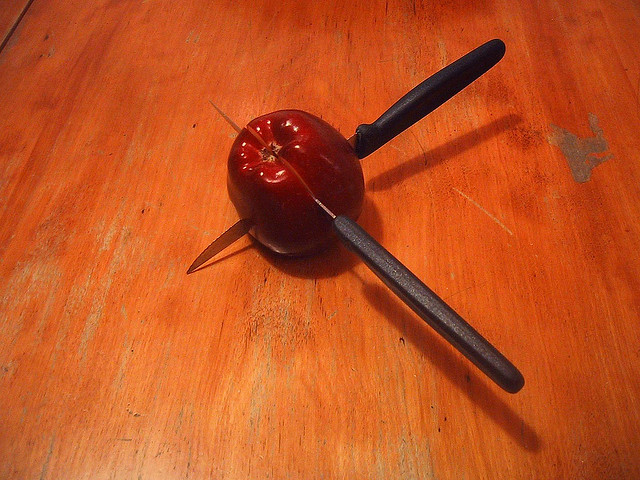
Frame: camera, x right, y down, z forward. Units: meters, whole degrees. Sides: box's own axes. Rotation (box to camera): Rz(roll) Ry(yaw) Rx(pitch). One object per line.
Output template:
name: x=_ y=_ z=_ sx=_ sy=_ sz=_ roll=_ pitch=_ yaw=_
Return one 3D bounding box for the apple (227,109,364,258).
apple: x=-0.085 y=-0.099 z=1.239 sx=0.192 sy=0.196 sz=0.264 roll=3 pitch=89 yaw=-38

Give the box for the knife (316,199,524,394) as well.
knife: x=0.176 y=0.117 z=1.177 sx=0.027 sy=0.057 sz=0.395 roll=-31 pitch=70 yaw=-14
